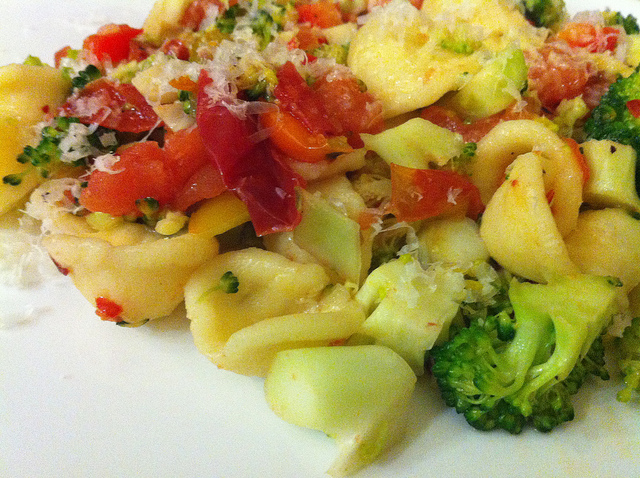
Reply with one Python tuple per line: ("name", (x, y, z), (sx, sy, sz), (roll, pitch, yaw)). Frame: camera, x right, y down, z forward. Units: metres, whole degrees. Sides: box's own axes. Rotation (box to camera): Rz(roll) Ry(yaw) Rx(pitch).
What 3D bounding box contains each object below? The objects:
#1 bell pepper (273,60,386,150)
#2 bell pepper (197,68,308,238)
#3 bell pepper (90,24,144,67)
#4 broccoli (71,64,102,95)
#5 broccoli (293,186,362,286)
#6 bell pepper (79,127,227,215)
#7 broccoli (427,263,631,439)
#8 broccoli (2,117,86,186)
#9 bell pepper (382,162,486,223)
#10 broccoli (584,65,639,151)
("bell pepper", (0.001, -0.397, 1.813), (0.104, 0.270, 0.429), (-13, 12, -32))
("bell pepper", (-0.194, -0.221, 1.604), (0.302, 0.460, 0.134), (-36, 17, -32))
("bell pepper", (-0.708, -0.696, 2.069), (0.165, 0.068, 0.202), (24, 49, 25))
("broccoli", (-0.759, -0.513, 1.837), (0.119, 0.035, 0.068), (-36, 90, -4))
("broccoli", (0.023, -0.009, 1.672), (0.286, 0.219, 0.139), (29, 64, 24))
("bell pepper", (-0.449, -0.186, 1.713), (0.428, 0.128, 0.214), (-21, 80, 7))
("broccoli", (0.588, 0.309, 1.575), (0.559, 0.261, 0.433), (-2, 52, 3))
("broccoli", (-0.828, -0.259, 1.694), (0.242, 0.074, 0.232), (-26, 43, -16))
("bell pepper", (0.323, -0.142, 1.689), (0.275, 0.117, 0.141), (-2, 53, 3))
("broccoli", (0.983, -0.416, 1.854), (0.167, 0.154, 0.331), (18, 55, 17))
